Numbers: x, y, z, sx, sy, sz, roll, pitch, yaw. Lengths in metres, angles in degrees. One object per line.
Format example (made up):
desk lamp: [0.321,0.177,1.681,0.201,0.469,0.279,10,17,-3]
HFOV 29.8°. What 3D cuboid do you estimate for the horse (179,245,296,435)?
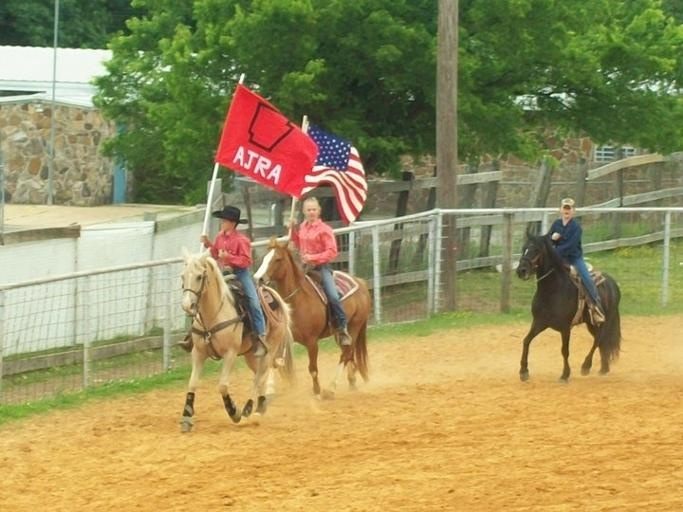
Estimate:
horse: [-2.010,1.450,23.193,0.988,3.166,2.837,-1,2,31]

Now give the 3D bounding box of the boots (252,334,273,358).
boots: [-1.548,1.656,23.347,0.243,0.401,0.449,-8,-7,28]

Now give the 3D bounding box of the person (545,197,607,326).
person: [4.733,0.102,25.878,1.161,2.376,1.009,-2,8,41]

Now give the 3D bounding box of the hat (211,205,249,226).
hat: [-2.053,-0.758,23.408,0.604,0.208,0.479,11,7,-42]
